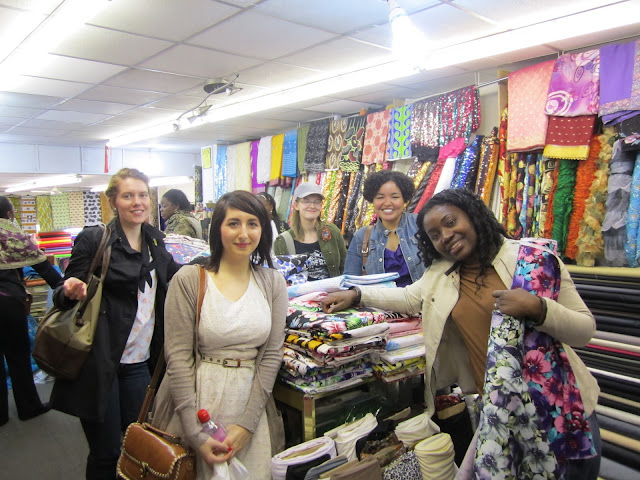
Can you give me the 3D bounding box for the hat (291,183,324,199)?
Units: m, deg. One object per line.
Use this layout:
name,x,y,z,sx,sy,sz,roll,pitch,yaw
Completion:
hat,-0.101,-0.441,3.313,0.230,0.148,0.173,0,5,-1

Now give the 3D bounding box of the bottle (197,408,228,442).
bottle,-0.427,0.718,1.474,0.098,0.131,0.075,3,6,24

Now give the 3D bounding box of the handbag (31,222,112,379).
handbag,-1.314,0.325,2.007,0.390,0.808,0.257,-4,7,-37
